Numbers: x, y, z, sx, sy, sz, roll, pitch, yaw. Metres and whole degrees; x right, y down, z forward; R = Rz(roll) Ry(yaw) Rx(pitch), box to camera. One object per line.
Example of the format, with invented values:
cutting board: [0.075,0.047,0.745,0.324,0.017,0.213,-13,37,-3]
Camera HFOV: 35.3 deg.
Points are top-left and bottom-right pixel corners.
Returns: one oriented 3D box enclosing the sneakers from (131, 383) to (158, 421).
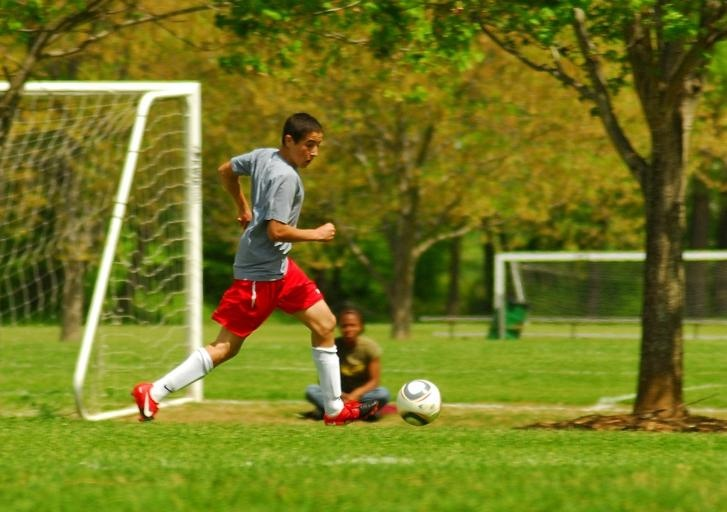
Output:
sneakers: [-1.688,1.128,8.893,0.197,0.280,0.123,-17,11,-10]

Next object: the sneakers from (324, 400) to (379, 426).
sneakers: [-0.079,1.255,9.210,0.497,0.159,0.169,-12,19,-24]

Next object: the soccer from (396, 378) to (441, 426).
soccer: [0.452,1.198,9.265,0.329,0.362,0.192,0,-5,17]

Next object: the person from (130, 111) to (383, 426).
person: [-0.772,0.071,8.876,1.614,2.477,0.780,2,-5,0]
